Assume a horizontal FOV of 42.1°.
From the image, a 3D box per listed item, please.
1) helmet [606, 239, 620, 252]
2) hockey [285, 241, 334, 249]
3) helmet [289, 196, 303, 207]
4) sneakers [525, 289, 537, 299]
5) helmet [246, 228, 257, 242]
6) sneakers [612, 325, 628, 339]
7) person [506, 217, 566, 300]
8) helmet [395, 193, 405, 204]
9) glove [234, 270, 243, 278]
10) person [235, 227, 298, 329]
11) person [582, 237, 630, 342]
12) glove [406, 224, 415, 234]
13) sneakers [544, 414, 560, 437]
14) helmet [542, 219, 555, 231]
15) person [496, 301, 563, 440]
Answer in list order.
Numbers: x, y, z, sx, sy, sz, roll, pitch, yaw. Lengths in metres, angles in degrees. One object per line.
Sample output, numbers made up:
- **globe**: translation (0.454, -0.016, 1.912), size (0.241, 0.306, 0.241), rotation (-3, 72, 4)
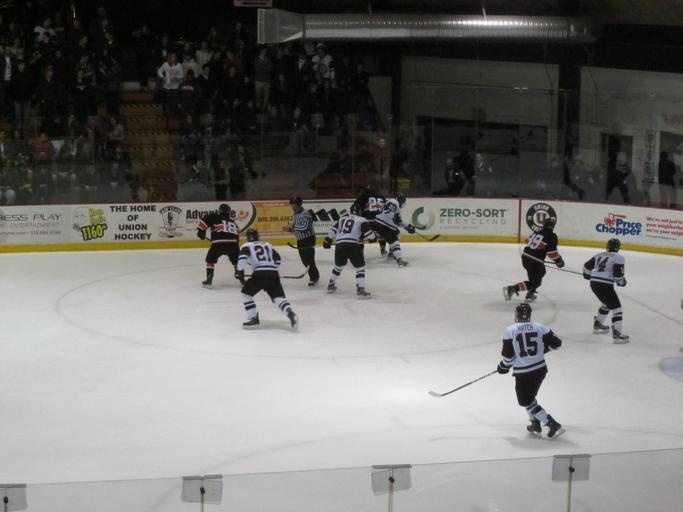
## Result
- **helmet**: translation (4.258, -0.252, 13.945), size (0.141, 0.183, 0.427), rotation (5, 33, 20)
- **hockey**: translation (-0.685, -0.231, 18.224), size (1.085, 0.163, 0.121), rotation (-8, 2, 30)
- **helmet**: translation (-0.872, -1.059, 17.051), size (0.255, 0.202, 0.182), rotation (9, 4, -7)
- **sneakers**: translation (3.447, 0.669, 16.145), size (0.104, 0.206, 0.214), rotation (13, 26, 34)
- **helmet**: translation (-1.425, -0.349, 14.114), size (0.176, 0.219, 0.203), rotation (1, 9, -10)
- **sneakers**: translation (4.357, 1.190, 13.901), size (0.244, 0.207, 0.300), rotation (2, 11, 18)
- **person**: translation (3.580, 0.076, 15.904), size (0.689, 1.532, 0.557), rotation (0, 11, 8)
- **helmet**: translation (1.280, -1.254, 19.146), size (0.195, 0.235, 0.223), rotation (15, 8, 5)
- **glove**: translation (-1.913, 0.337, 16.604), size (0.140, 0.174, 0.178), rotation (-1, -2, -25)
- **person**: translation (-1.184, 0.334, 14.337), size (0.962, 1.607, 0.892), rotation (-2, -7, 1)
- **person**: translation (4.168, 0.519, 13.961), size (0.732, 1.599, 0.464), rotation (5, 13, 31)
- **glove**: translation (1.480, -0.604, 19.267), size (0.243, 0.088, 0.330), rotation (-1, 17, 6)
- **sneakers**: translation (2.602, 2.087, 10.879), size (0.207, 0.297, 0.154), rotation (1, 11, 13)
- **helmet**: translation (3.677, -0.565, 15.759), size (0.192, 0.224, 0.380), rotation (1, 11, 11)
- **person**: translation (2.326, 1.408, 10.994), size (0.785, 1.607, 0.534), rotation (0, 11, 11)
